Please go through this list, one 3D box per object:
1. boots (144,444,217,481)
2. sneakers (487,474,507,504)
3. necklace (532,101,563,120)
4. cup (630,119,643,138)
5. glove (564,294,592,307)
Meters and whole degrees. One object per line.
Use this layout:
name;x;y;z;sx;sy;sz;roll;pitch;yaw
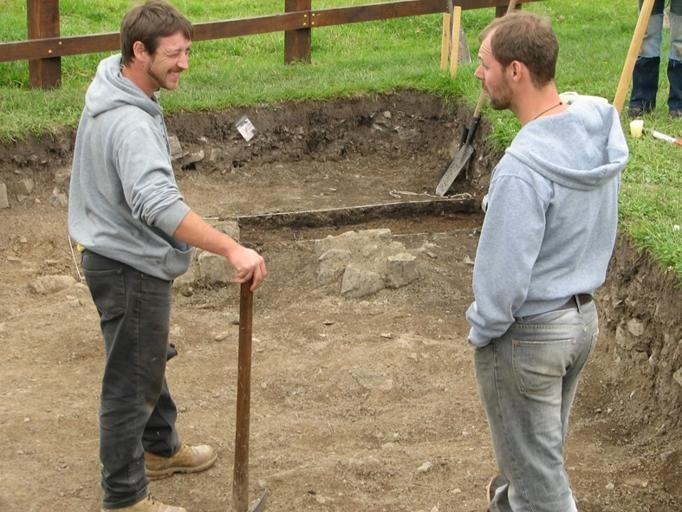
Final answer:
boots;-1.208;1.530;9.431;0.558;0.256;0.208;-11;28;-18
sneakers;1.083;1.675;8.897;0.076;0.193;0.141;30;5;31
necklace;1.371;-0.974;8.360;0.195;0.029;0.022;-37;75;-25
cup;2.871;-1.243;12.163;0.142;0.119;0.158;7;25;17
glove;1.604;0.306;8.415;0.102;0.071;0.129;-16;2;36
